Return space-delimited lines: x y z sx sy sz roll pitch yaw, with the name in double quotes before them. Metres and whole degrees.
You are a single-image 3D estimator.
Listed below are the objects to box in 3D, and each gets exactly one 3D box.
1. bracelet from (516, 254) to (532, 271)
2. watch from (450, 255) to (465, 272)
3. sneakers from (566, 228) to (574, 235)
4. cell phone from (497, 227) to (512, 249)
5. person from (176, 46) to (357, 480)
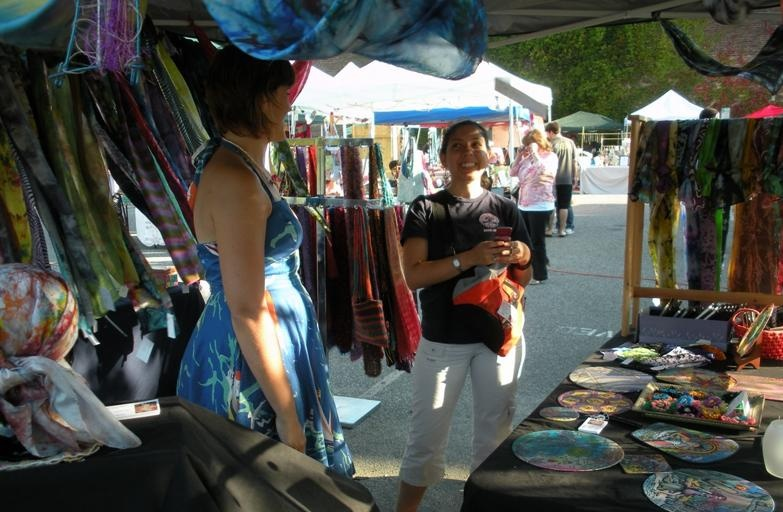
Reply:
"bracelet" 0.713 0.033 2.811 0.068 0.058 0.069 -4 19 3
"watch" 0.333 0.040 2.666 0.050 0.077 0.077 -38 -6 -3
"sneakers" 3.817 -0.516 11.215 0.105 0.084 0.202 -4 9 19
"cell phone" 0.559 -0.094 2.590 0.100 0.099 0.067 -3 13 -13
"person" -0.478 0.091 1.861 0.556 1.597 0.405 8 15 32
